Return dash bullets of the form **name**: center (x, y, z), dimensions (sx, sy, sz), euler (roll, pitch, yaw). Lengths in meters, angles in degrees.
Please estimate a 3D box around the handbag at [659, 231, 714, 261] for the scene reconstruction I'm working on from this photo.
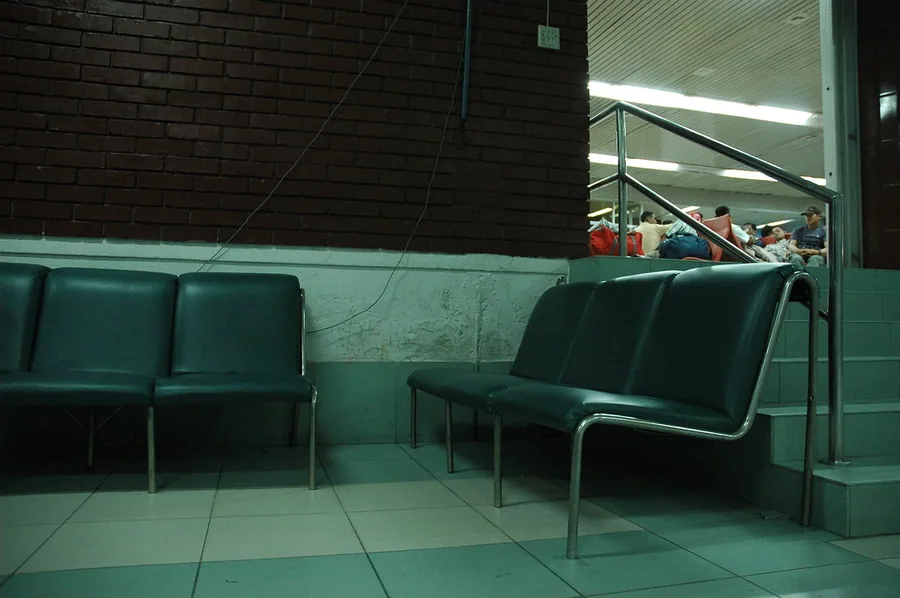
- **handbag**: center (1.904, -0.424, 6.257), dimensions (0.290, 0.107, 0.361), euler (0, 1, 34)

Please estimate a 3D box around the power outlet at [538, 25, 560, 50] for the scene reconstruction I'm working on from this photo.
- **power outlet**: center (0.699, -1.874, 5.515), dimensions (0.233, 0.154, 0.068), euler (0, 6, -21)

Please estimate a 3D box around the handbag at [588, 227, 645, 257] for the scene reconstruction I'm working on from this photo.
- **handbag**: center (1.532, -0.504, 7.003), dimensions (0.567, 0.170, 0.365), euler (2, -2, -11)
